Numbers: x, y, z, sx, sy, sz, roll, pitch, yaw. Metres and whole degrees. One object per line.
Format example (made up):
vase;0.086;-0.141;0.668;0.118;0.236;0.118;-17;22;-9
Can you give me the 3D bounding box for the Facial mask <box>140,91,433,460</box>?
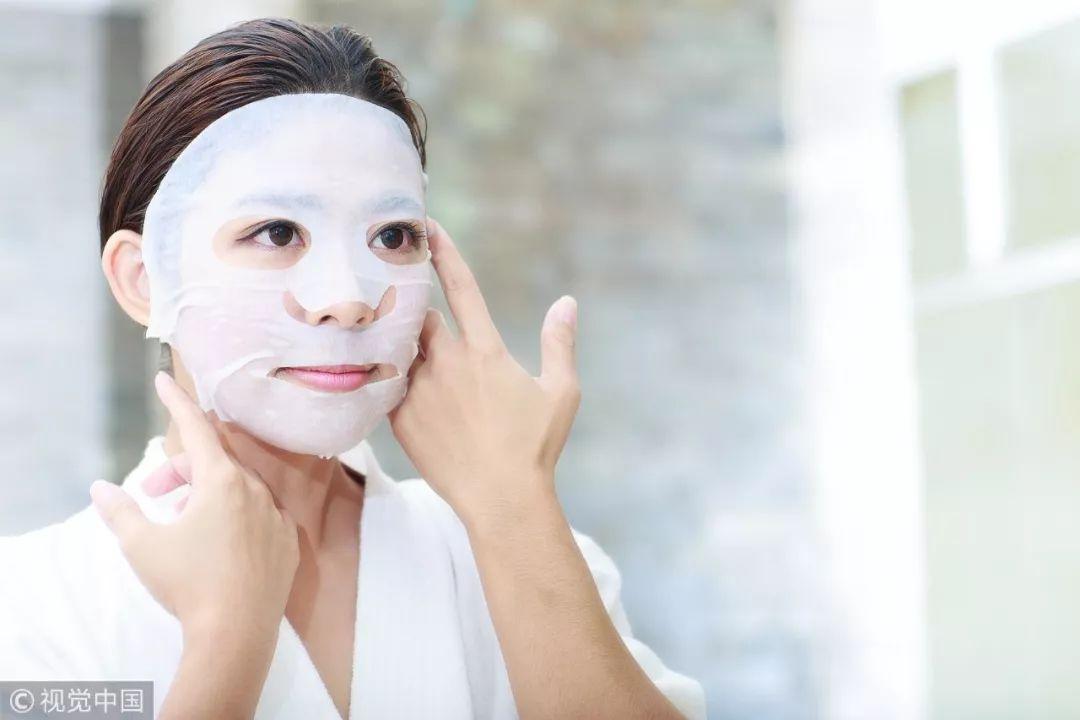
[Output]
Facial mask;-0.434;-0.151;2.304;0.578;0.653;0.385;2;-8;-31
